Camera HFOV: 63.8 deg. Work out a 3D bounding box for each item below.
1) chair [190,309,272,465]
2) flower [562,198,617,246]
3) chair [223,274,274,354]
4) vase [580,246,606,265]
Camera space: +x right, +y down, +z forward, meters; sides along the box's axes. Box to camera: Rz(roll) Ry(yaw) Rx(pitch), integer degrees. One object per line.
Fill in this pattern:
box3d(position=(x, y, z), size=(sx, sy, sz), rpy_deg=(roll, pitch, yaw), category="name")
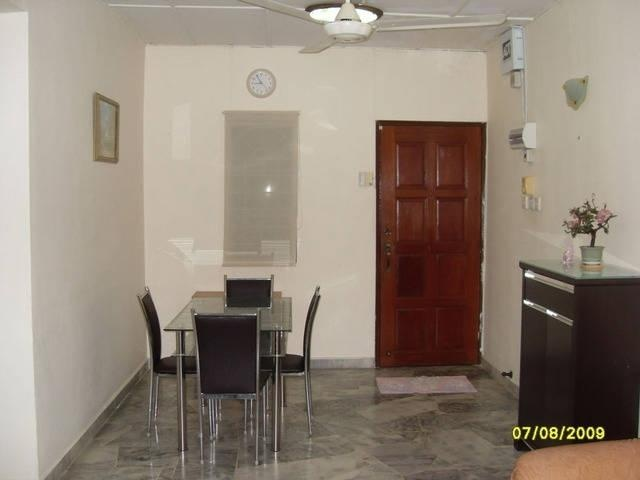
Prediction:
box3d(position=(-0.647, 1.010, 3.874), size=(0.529, 1.119, 0.713), rpy_deg=(-1, 7, -8), category="chair")
box3d(position=(1.836, -0.140, 3.514), size=(0.278, 0.367, 0.341), rpy_deg=(4, 12, 16), category="flower")
box3d(position=(-0.622, 0.643, 4.530), size=(0.439, 0.973, 0.522), rpy_deg=(1, 5, 0), category="chair")
box3d(position=(1.773, 0.104, 3.327), size=(0.113, 0.099, 0.121), rpy_deg=(1, -4, 2), category="vase")
